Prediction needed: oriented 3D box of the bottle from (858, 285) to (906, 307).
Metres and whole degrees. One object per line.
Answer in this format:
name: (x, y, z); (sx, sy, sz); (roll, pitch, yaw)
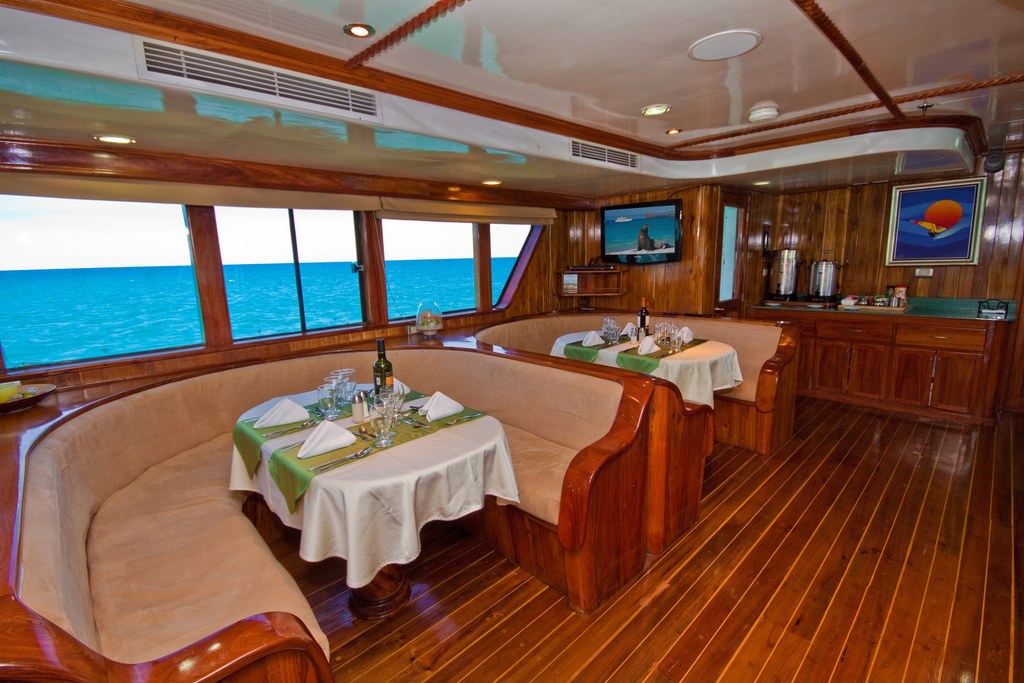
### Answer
bottle: (4.150, -0.465, 6.802); (0.338, 0.192, 0.307); (-3, 7, 0)

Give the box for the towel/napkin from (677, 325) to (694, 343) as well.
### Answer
towel/napkin: (1.652, -0.071, 5.888); (0.137, 0.127, 0.167); (-4, -2, 43)

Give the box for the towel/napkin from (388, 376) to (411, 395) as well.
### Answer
towel/napkin: (-0.845, 0.359, 4.671); (0.145, 0.038, 0.142); (19, -1, -19)

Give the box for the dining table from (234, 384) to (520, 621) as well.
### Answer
dining table: (-1.023, 1.212, 4.602); (1.761, 1.306, 2.046); (-11, 18, -33)

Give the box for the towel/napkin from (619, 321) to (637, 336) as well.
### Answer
towel/napkin: (1.259, -0.129, 6.582); (0.182, 0.175, 0.116); (7, -29, -41)

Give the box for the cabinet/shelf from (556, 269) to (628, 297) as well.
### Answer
cabinet/shelf: (0.991, -0.714, 7.565); (0.822, 0.396, 0.332); (-3, 11, 7)

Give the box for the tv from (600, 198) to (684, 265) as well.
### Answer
tv: (1.552, -1.282, 7.109); (0.905, 0.607, 0.124); (4, 14, 41)

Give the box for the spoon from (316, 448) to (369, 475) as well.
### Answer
spoon: (-1.046, 0.756, 3.779); (0.331, 0.044, 0.054); (-16, 33, -42)

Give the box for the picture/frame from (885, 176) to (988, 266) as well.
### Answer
picture/frame: (4.556, -1.299, 6.504); (1.019, 1.090, 0.094); (4, 7, 44)

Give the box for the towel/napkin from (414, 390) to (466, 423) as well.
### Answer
towel/napkin: (-0.486, 0.464, 4.286); (0.234, 0.091, 0.237); (25, 35, 34)

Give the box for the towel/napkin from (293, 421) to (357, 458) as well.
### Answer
towel/napkin: (-1.182, 0.640, 3.894); (0.262, 0.081, 0.248); (11, 18, 37)
